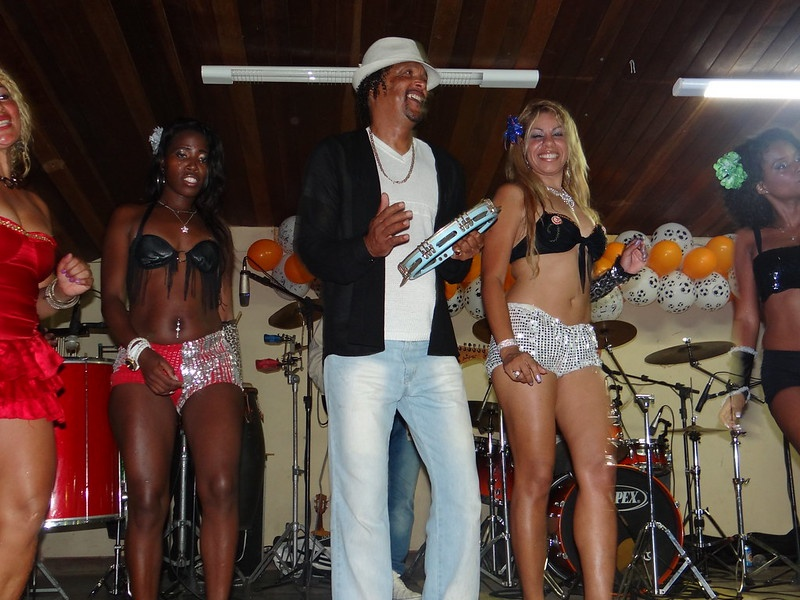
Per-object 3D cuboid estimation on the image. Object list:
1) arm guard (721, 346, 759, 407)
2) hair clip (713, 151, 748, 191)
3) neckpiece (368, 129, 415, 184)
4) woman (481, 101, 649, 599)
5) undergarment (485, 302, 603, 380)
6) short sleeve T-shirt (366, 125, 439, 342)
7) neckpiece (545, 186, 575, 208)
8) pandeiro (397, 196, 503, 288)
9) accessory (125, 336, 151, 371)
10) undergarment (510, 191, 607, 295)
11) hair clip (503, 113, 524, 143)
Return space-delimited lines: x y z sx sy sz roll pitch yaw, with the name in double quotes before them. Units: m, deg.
"arm guard" 1.928 0.418 3.881 0.183 0.318 0.229 -7 -11 20
"hair clip" 2.019 -0.780 4.205 0.156 0.230 0.075 -10 -7 30
"neckpiece" -0.046 -0.642 3.088 0.176 0.280 0.055 0 -18 -27
"woman" 0.750 0.141 3.466 0.693 2.541 0.453 -2 -9 -3
"undergarment" 0.720 0.217 3.485 0.503 0.406 0.339 9 -49 -15
"short sleeve T-shirt" 0.042 -0.271 3.024 0.173 0.825 0.576 4 6 2
"neckpiece" 0.836 -0.545 3.623 0.155 0.053 0.007 36 -41 -17
"pandeiro" 0.199 -0.271 2.937 0.385 0.099 0.328 -38 -10 1
"accessory" -1.262 0.247 3.299 0.065 0.147 0.131 11 23 12
"undergarment" 0.816 -0.287 3.517 0.480 0.397 0.353 18 -34 -37
"hair clip" 0.641 -0.947 3.808 0.124 0.140 0.054 3 -7 22
